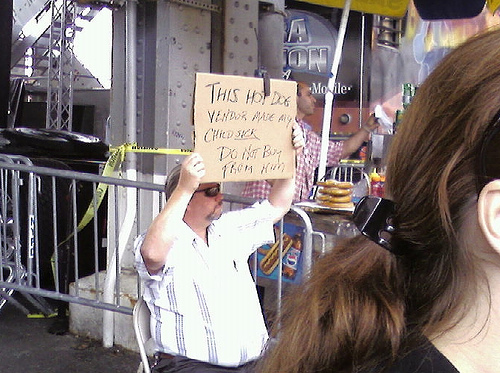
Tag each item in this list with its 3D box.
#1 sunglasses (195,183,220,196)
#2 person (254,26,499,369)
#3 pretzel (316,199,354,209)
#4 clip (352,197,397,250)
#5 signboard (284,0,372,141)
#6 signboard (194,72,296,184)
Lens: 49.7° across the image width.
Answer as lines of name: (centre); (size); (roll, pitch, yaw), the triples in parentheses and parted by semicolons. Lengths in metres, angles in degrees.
sunglasses: (-0.195, 0.014, 2.749); (0.086, 0.043, 0.213); (12, 10, 24)
person: (0.192, 0.051, 1.388); (0.579, 0.880, 0.540); (0, -1, -5)
pretzel: (0.561, 0.114, 3.612); (0.256, 0.042, 0.164); (11, 10, 15)
clip: (0.258, 0.074, 1.123); (0.087, 0.102, 0.040); (8, 8, 9)
signboard: (1.546, -2.297, 10.936); (1.885, 2.631, 0.728); (7, 8, 1)
signboard: (-0.035, -0.265, 2.453); (0.458, 0.506, 0.066); (0, 3, -27)
